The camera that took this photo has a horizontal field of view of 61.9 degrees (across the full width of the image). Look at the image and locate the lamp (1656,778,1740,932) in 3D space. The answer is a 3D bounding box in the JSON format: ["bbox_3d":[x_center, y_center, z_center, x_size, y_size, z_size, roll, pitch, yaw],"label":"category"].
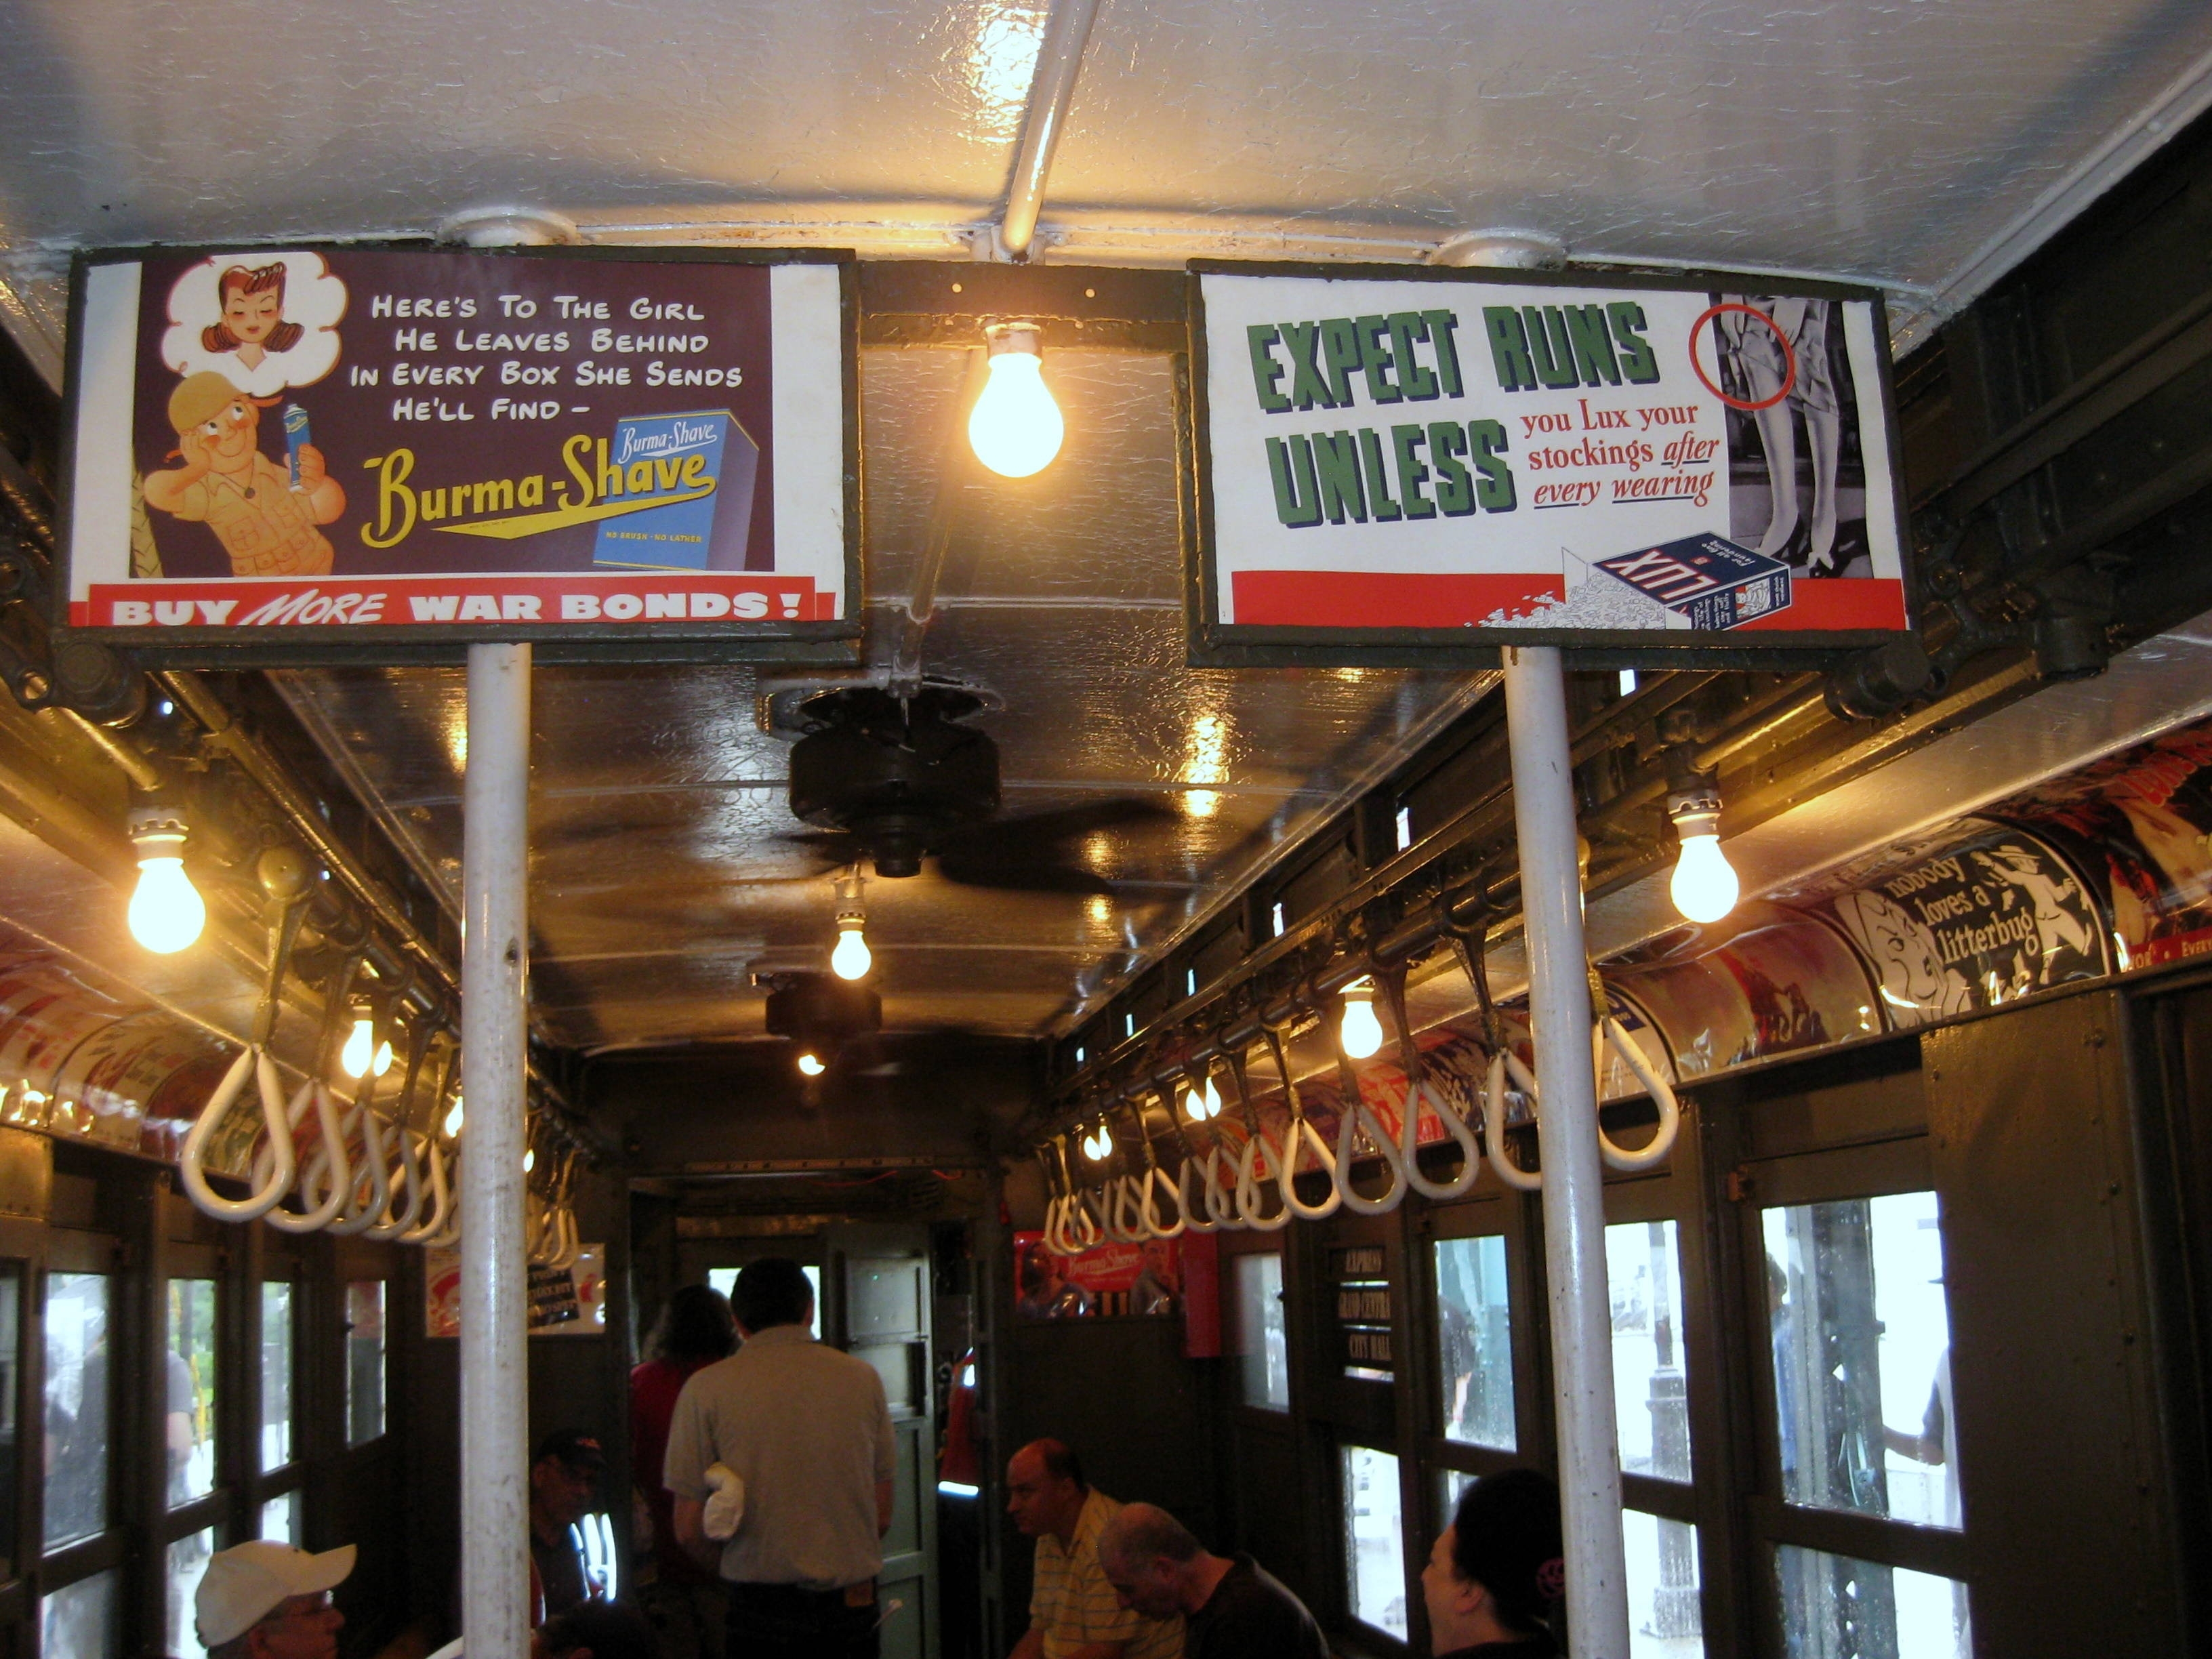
[{"bbox_3d":[1.215,0.042,3.788,0.119,0.316,0.314,-9,-19,16],"label":"lamp"}]

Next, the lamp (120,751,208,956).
[{"bbox_3d":[-1.976,0.077,3.886,0.155,0.360,0.258,7,-21,-26],"label":"lamp"}]

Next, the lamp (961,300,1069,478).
[{"bbox_3d":[-0.147,-0.702,3.087,0.147,0.333,0.261,-3,-18,-1],"label":"lamp"}]

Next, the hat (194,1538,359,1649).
[{"bbox_3d":[-2.110,1.947,4.781,0.434,0.165,0.267,-12,14,-26],"label":"hat"}]
